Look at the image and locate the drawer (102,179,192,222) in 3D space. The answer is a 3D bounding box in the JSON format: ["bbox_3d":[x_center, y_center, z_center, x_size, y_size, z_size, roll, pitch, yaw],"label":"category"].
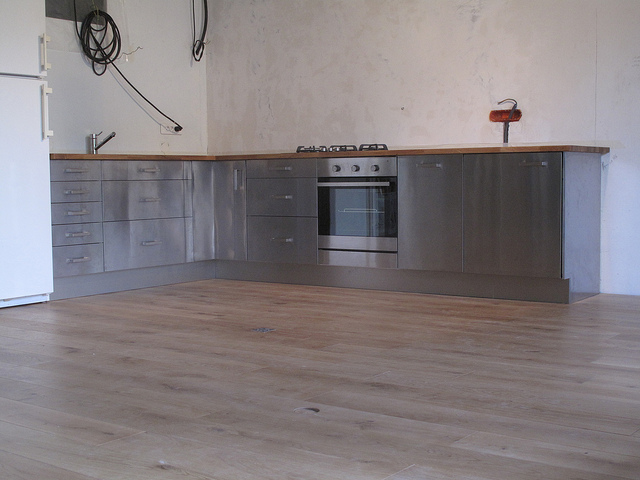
[{"bbox_3d":[-1.508,-0.381,4.684,0.834,0.344,0.500,1,4,5],"label":"drawer"}]

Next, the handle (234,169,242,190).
[{"bbox_3d":[-0.776,-0.579,4.786,0.086,0.191,0.017,2,5,34],"label":"handle"}]

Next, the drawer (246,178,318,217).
[{"bbox_3d":[-0.255,-0.408,4.791,0.746,0.349,0.496,3,5,29],"label":"drawer"}]

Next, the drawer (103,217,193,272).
[{"bbox_3d":[-1.505,0.022,4.447,0.436,0.335,0.726,0,1,41],"label":"drawer"}]

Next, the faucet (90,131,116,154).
[{"bbox_3d":[-2.055,-0.938,4.748,0.202,0.231,0.383,-3,4,-24],"label":"faucet"}]

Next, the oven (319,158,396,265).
[{"bbox_3d":[0.311,-0.206,4.542,0.844,0.920,0.763,3,-9,-17],"label":"oven"}]

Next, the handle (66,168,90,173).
[{"bbox_3d":[-1.926,-0.556,4.022,0.170,0.035,0.015,-3,5,-35],"label":"handle"}]

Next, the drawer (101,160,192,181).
[{"bbox_3d":[-1.501,-0.614,4.446,0.039,0.199,0.843,3,5,42],"label":"drawer"}]

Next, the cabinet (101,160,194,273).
[{"bbox_3d":[-1.511,-0.213,4.711,0.896,0.954,0.645,-3,-4,2],"label":"cabinet"}]

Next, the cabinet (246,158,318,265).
[{"bbox_3d":[-0.274,-0.287,4.888,0.755,0.957,0.658,1,6,9],"label":"cabinet"}]

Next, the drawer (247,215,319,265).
[{"bbox_3d":[-0.533,-0.003,4.913,1.022,0.455,1.003,0,0,-9],"label":"drawer"}]

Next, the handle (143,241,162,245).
[{"bbox_3d":[-1.475,0.020,4.460,0.022,0.034,0.175,2,0,44],"label":"handle"}]

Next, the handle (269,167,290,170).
[{"bbox_3d":[-0.374,-0.647,4.570,0.201,0.026,0.019,4,1,22],"label":"handle"}]

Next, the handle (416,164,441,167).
[{"bbox_3d":[0.849,-0.586,3.958,0.192,0.028,0.028,1,4,19],"label":"handle"}]

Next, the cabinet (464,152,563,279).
[{"bbox_3d":[1.456,-0.250,4.030,0.768,1.004,0.769,2,11,17],"label":"cabinet"}]
